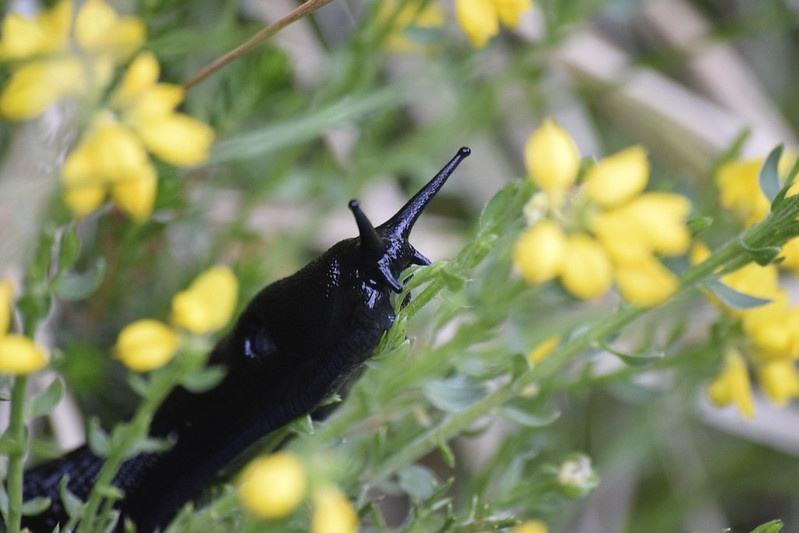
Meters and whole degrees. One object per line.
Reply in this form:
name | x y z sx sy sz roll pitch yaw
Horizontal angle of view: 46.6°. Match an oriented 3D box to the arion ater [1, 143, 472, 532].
arion ater | -0.100 0.043 0.519 0.272 0.067 0.081 -41 -14 4
